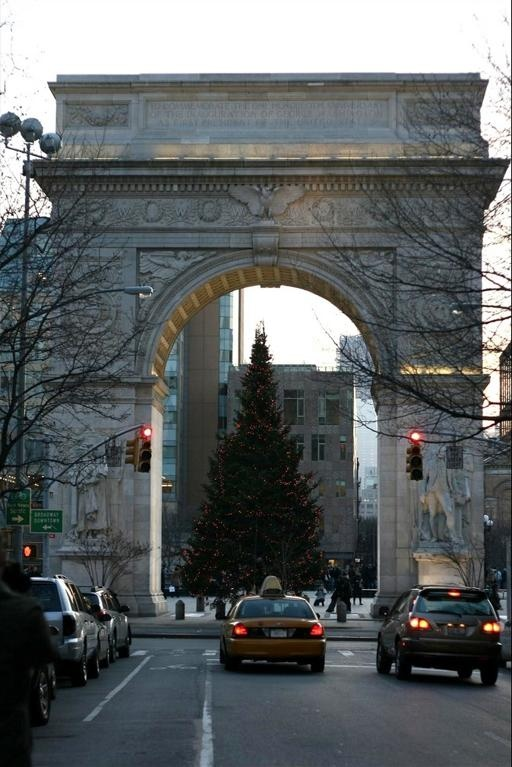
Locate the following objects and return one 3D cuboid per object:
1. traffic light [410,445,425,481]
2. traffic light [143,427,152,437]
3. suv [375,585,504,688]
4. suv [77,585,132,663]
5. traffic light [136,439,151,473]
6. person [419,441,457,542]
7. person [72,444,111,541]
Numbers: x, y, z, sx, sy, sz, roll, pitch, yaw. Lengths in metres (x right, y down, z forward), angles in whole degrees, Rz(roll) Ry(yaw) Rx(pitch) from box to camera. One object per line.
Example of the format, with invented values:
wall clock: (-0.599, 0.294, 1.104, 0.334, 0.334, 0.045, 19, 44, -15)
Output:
traffic light: (3.243, 1.645, 25.893, 0.297, 0.742, 0.916, -1, -8, 5)
traffic light: (-2.491, 1.123, 28.150, 0.167, 0.223, 0.333, 0, -8, -8)
suv: (2.784, 3.878, 19.242, 1.442, 1.472, 2.077, 0, -8, -8)
suv: (-2.977, 4.552, 23.779, 0.884, 1.101, 2.082, -1, -4, 5)
traffic light: (-2.502, 1.579, 27.438, 0.291, 0.731, 1.104, 0, -8, -7)
person: (5.487, 3.457, 38.619, 1.231, 3.004, 0.651, -5, -8, 30)
person: (-5.199, 3.356, 39.214, 1.142, 2.664, 1.192, 0, -7, -9)
